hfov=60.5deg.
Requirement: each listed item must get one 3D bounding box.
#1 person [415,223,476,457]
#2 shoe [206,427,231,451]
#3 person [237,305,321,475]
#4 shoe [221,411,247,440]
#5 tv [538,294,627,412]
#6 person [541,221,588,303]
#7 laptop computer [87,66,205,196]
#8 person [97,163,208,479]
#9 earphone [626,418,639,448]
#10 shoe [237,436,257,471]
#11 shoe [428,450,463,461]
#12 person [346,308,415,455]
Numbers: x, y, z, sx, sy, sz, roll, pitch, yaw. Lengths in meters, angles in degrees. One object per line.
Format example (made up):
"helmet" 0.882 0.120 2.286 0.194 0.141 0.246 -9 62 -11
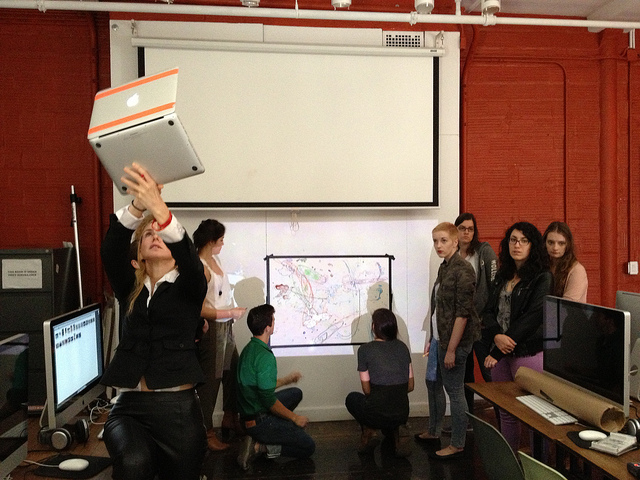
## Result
"person" 1.073 0.837 4.706 0.454 1.952 0.568 -1 6 -2
"shoe" -0.883 1.715 4.758 0.197 0.207 0.150 -2 7 -13
"person" -0.323 1.166 4.705 0.663 1.302 0.799 0 7 6
"shoe" -0.760 1.648 5.021 0.295 0.317 0.137 8 31 -4
"tv" 1.689 0.756 3.523 0.208 0.598 0.668 -1 1 -19
"person" 1.944 0.240 4.532 0.425 0.770 0.439 5 11 37
"laptop computer" -0.960 -0.612 3.071 0.520 0.451 0.415 -13 -41 8
"person" -1.018 0.594 3.141 0.646 2.051 0.610 4 8 39
"earphone" 1.866 1.144 3.278 0.070 0.111 0.041 2 -22 -2
"shoe" -0.602 1.714 4.495 0.120 0.323 0.112 6 -21 7
"shoe" 1.041 1.798 4.546 0.260 0.108 0.103 2 -4 5
"person" 0.502 1.204 4.618 0.558 1.217 0.333 0 6 6
